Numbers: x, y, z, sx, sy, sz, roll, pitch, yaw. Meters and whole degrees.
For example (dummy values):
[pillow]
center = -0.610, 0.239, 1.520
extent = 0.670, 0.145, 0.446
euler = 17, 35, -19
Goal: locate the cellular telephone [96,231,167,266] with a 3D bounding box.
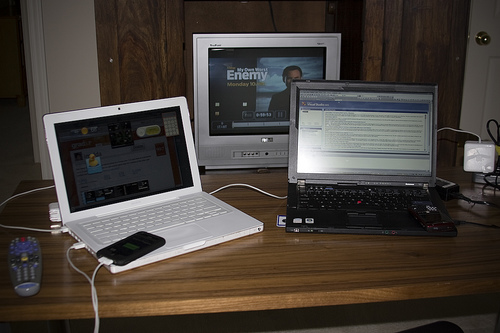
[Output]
[cellular telephone]
center = -0.366, 0.233, 1.219
extent = 0.097, 0.028, 0.130
euler = 20, 31, 35

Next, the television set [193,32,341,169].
[television set]
center = 0.021, -0.382, 2.244
extent = 0.810, 0.697, 0.432
euler = -5, 19, -17

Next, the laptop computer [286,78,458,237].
[laptop computer]
center = 0.417, -0.048, 1.403
extent = 0.587, 0.391, 0.468
euler = 1, 25, 5

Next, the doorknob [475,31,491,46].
[doorknob]
center = 1.833, -1.007, 3.111
extent = 0.105, 0.101, 0.039
euler = -2, 12, 6

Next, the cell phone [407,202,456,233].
[cell phone]
center = 0.627, 0.180, 1.385
extent = 0.108, 0.058, 0.131
euler = -6, 14, -13
